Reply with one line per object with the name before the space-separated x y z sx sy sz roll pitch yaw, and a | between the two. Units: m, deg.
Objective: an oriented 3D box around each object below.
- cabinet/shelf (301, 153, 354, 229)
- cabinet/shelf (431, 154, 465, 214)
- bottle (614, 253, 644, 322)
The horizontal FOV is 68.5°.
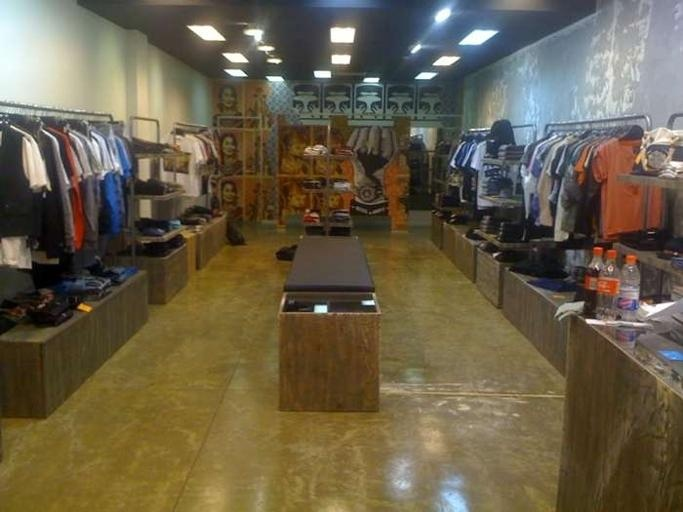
cabinet/shelf | -0.225 -1.410 10.218 1.092 1.516 2.973 0 13 -3
cabinet/shelf | 2.287 -1.597 10.813 0.465 1.401 1.482 -1 11 -2
bottle | 1.511 0.150 2.633 0.112 0.357 0.416 8 14 31
